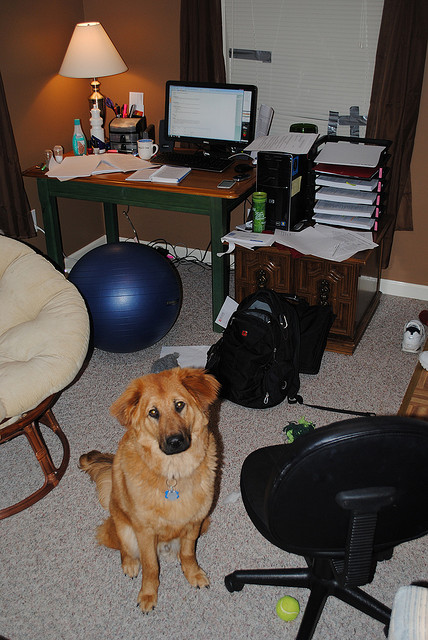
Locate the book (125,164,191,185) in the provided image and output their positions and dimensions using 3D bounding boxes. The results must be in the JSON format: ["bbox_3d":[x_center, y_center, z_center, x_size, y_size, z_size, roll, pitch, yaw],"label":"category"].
[{"bbox_3d":[-0.314,-0.864,2.799,0.314,0.034,0.316,10,34,13],"label":"book"}]

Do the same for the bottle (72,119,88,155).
[{"bbox_3d":[-0.867,-1.180,3.078,0.070,0.218,0.066,1,31,0],"label":"bottle"}]

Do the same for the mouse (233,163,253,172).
[{"bbox_3d":[0.181,-0.933,2.902,0.108,0.038,0.063,-11,32,-25],"label":"mouse"}]

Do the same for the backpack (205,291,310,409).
[{"bbox_3d":[0.279,0.149,2.527,0.477,0.599,0.557,10,14,38],"label":"backpack"}]

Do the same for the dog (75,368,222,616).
[{"bbox_3d":[-0.213,0.486,1.468,0.433,0.826,0.444,-1,31,-3],"label":"dog"}]

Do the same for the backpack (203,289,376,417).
[{"bbox_3d":[0.332,0.152,2.401,0.671,0.514,0.852,-5,18,2],"label":"backpack"}]

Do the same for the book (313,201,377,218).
[{"bbox_3d":[0.720,-0.619,2.644,0.331,0.069,0.116,12,34,15],"label":"book"}]

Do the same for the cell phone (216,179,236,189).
[{"bbox_3d":[0.068,-0.748,2.636,0.099,0.019,0.183,6,35,6],"label":"cell phone"}]

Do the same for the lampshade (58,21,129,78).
[{"bbox_3d":[-0.780,-1.691,3.152,0.358,0.333,0.382,-16,44,-9],"label":"lampshade"}]

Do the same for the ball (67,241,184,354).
[{"bbox_3d":[-0.508,-0.192,2.752,0.573,0.625,0.569,-2,17,1],"label":"ball"}]

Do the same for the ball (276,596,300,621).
[{"bbox_3d":[0.218,0.851,1.415,0.061,0.066,0.035,-3,-8,2],"label":"ball"}]

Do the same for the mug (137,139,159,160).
[{"bbox_3d":[-0.427,-1.129,3.107,0.118,0.122,0.297,1,33,0],"label":"mug"}]
